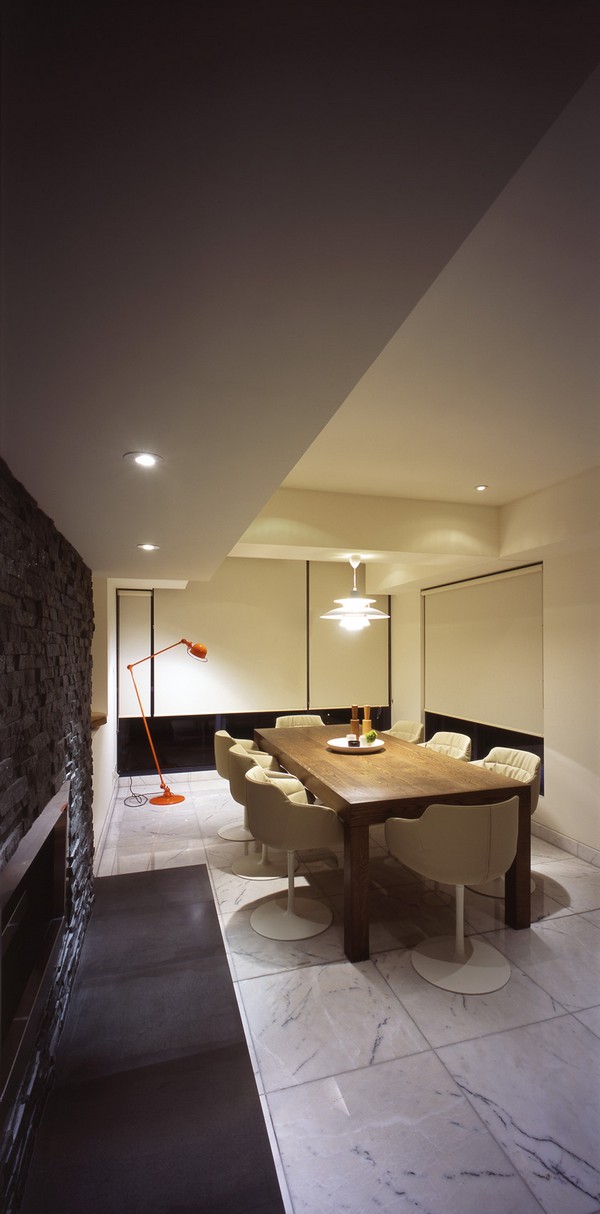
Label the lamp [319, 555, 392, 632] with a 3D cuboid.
[{"bbox_3d":[0.360,-0.119,4.738,0.385,0.507,0.404,5,-9,-29],"label":"lamp"}]

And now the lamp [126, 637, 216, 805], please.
[{"bbox_3d":[-1.067,0.833,5.701,0.509,1.210,0.785,0,-1,-19],"label":"lamp"}]
